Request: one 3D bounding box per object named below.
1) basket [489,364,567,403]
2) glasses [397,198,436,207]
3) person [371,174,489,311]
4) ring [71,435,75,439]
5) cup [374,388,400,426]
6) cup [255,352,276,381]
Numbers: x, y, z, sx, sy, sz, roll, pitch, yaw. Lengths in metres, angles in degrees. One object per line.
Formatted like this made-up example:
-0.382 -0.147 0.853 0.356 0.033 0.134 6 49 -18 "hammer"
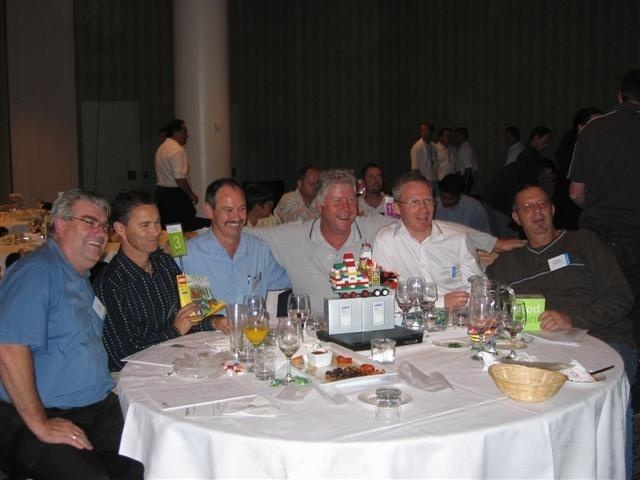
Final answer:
0.758 0.486 1.891 0.165 0.066 0.162 -6 3 -25 "basket"
0.621 -0.242 3.323 0.215 0.051 0.073 -3 10 4 "glasses"
0.754 0.016 3.508 0.644 1.055 0.576 -17 17 -3 "person"
-1.074 0.850 2.228 0.014 0.015 0.004 3 -11 -22 "ring"
0.242 0.570 1.816 0.091 0.082 0.149 -2 10 8 "cup"
-0.231 0.524 2.143 0.079 0.102 0.091 0 -8 4 "cup"
